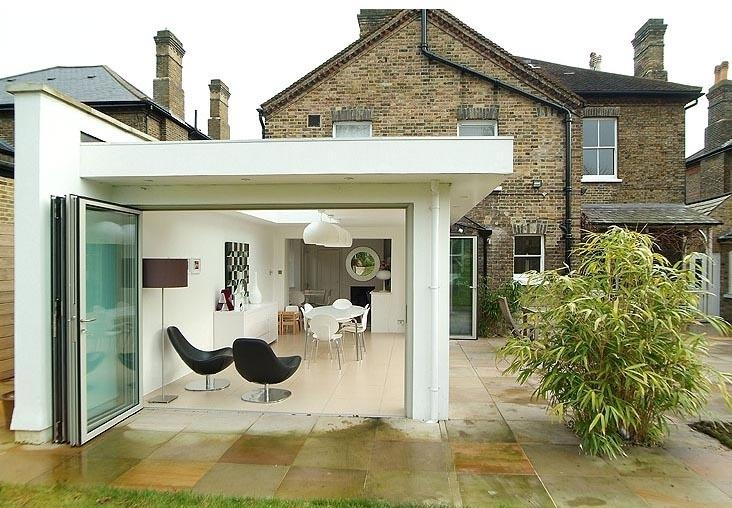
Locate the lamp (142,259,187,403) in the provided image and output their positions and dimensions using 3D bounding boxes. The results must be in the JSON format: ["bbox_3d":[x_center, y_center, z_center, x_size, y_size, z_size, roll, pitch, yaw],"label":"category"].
[{"bbox_3d":[-3.092,1.143,8.862,0.611,2.228,0.856,4,14,16],"label":"lamp"}]

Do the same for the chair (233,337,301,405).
[{"bbox_3d":[-1.558,1.750,8.968,0.932,0.953,1.057,0,0,24],"label":"chair"}]

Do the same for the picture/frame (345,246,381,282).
[{"bbox_3d":[-0.045,0.275,16.919,0.984,1.029,0.054,2,8,10],"label":"picture/frame"}]

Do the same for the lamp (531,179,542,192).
[{"bbox_3d":[3.772,-1.532,12.746,0.209,0.220,0.132,-1,1,14],"label":"lamp"}]

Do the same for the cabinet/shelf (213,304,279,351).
[{"bbox_3d":[-2.342,1.512,12.118,0.641,0.960,2.386,1,3,13],"label":"cabinet/shelf"}]

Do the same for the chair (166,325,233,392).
[{"bbox_3d":[-2.667,1.684,9.424,1.060,0.986,1.037,1,-1,-4],"label":"chair"}]
